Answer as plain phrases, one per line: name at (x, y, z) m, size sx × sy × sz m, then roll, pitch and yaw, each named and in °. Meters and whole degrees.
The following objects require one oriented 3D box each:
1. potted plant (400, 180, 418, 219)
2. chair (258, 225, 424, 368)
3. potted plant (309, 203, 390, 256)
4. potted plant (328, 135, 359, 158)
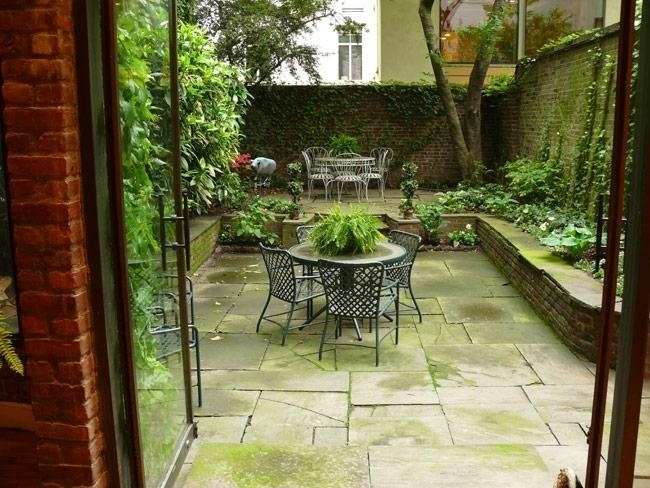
potted plant at (1.387, -0.773, 9.028) m, size 0.245 × 0.617 × 0.485 m, roll 1°, pitch 15°, yaw 9°
chair at (0.424, 0.398, 4.999) m, size 1.417 × 0.762 × 1.402 m, roll -2°, pitch 6°, yaw -23°
potted plant at (0.249, -0.179, 5.244) m, size 0.609 × 0.333 × 0.579 m, roll -6°, pitch 9°, yaw -35°
potted plant at (0.328, -2.315, 12.971) m, size 0.865 × 0.476 × 0.763 m, roll 2°, pitch 10°, yaw 9°
